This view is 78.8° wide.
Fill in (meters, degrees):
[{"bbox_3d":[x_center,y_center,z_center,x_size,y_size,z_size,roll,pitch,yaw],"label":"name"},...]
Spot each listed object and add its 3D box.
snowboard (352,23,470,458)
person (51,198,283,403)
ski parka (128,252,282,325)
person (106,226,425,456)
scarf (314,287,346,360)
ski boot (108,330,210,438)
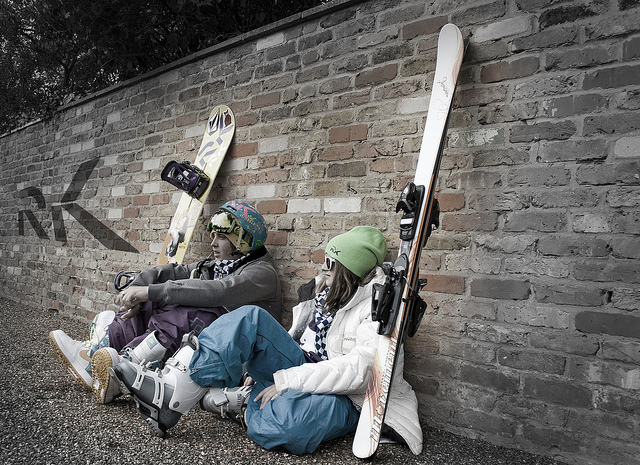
[{"bbox_3d":[0.492,-0.046,2.089,0.273,2.343,0.645,5,3,33],"label":"snowboard"},{"bbox_3d":[-0.996,0.413,2.760,0.875,1.118,1.472,5,4,42],"label":"person"},{"bbox_3d":[-0.792,0.373,2.824,1.010,0.484,0.708,4,1,6],"label":"ski parka"},{"bbox_3d":[-0.265,0.498,2.429,1.593,1.188,1.032,3,3,-13],"label":"person"},{"bbox_3d":[0.024,0.528,2.313,0.188,0.387,0.195,4,5,-15],"label":"scarf"},{"bbox_3d":[-0.787,0.744,2.043,0.454,0.468,0.165,48,-10,-12],"label":"ski boot"}]
